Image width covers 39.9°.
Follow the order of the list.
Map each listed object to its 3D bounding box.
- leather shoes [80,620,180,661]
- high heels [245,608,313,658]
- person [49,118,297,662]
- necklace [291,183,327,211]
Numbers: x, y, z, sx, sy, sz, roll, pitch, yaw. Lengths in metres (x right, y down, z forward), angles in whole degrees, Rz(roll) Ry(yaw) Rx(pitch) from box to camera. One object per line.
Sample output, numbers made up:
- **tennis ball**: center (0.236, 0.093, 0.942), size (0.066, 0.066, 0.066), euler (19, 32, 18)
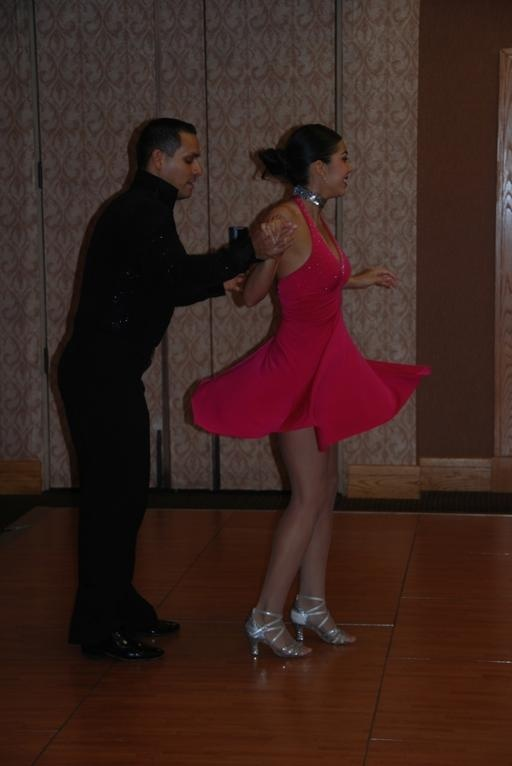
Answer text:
- **leather shoes**: center (-0.319, 0.696, 1.905), size (0.271, 0.118, 0.090), euler (-8, 17, 3)
- **high heels**: center (0.031, 0.632, 1.826), size (0.214, 0.164, 0.087), euler (2, 3, -5)
- **person**: center (-0.252, 0.040, 1.724), size (0.340, 1.367, 0.531), euler (-3, 3, -42)
- **necklace**: center (0.133, -0.468, 1.793), size (0.072, 0.027, 0.055), euler (30, 0, -21)
